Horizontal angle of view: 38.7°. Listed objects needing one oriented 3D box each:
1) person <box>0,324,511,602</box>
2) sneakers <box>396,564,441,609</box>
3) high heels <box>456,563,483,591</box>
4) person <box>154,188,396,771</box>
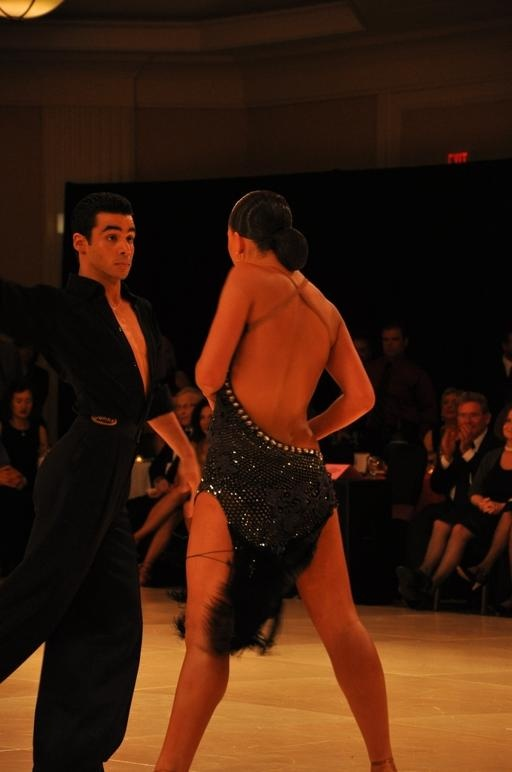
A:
[{"bbox_3d":[0.300,0.366,3.184,2.384,1.121,0.627,-1,-30,-2],"label":"person"},{"bbox_3d":[1.091,1.373,4.984,0.178,0.452,0.191,-21,22,31],"label":"sneakers"},{"bbox_3d":[1.443,1.287,4.898,0.118,0.100,0.196,41,-9,-18],"label":"high heels"},{"bbox_3d":[0.084,0.232,1.557,0.506,1.304,0.504,4,7,-6],"label":"person"}]
